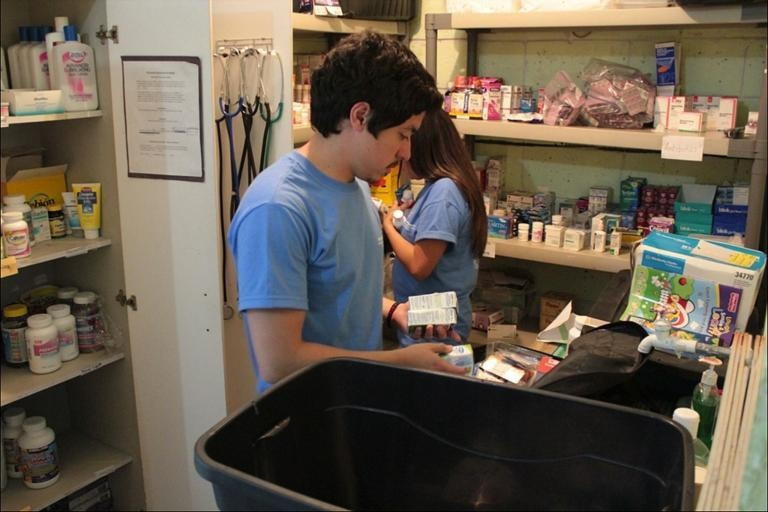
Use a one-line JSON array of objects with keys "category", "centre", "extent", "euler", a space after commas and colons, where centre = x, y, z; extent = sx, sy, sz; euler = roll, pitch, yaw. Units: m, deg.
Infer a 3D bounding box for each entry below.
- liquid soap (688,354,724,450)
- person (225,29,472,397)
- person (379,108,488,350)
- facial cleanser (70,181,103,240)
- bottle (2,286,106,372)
[{"category": "liquid soap", "centre": [0.937, 0.423, 1.744], "extent": [0.089, 0.231, 0.123], "euler": [10, 19, 25]}, {"category": "person", "centre": [-0.157, -0.151, 1.874], "extent": [0.647, 1.059, 0.313], "euler": [-7, 13, -32]}, {"category": "person", "centre": [0.298, -0.150, 2.992], "extent": [0.576, 1.144, 0.505], "euler": [7, 29, 13]}, {"category": "facial cleanser", "centre": [-1.411, -0.220, 2.863], "extent": [0.138, 0.257, 0.076], "euler": [-3, 12, -3]}, {"category": "bottle", "centre": [-1.565, 0.343, 2.955], "extent": [0.254, 0.349, 0.480], "euler": [6, 12, 38]}]
